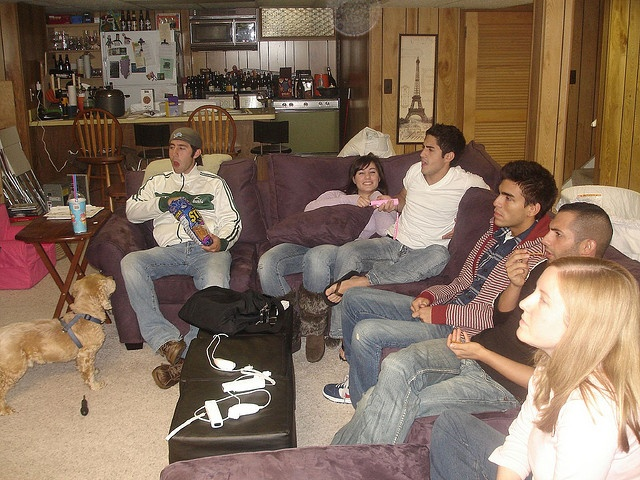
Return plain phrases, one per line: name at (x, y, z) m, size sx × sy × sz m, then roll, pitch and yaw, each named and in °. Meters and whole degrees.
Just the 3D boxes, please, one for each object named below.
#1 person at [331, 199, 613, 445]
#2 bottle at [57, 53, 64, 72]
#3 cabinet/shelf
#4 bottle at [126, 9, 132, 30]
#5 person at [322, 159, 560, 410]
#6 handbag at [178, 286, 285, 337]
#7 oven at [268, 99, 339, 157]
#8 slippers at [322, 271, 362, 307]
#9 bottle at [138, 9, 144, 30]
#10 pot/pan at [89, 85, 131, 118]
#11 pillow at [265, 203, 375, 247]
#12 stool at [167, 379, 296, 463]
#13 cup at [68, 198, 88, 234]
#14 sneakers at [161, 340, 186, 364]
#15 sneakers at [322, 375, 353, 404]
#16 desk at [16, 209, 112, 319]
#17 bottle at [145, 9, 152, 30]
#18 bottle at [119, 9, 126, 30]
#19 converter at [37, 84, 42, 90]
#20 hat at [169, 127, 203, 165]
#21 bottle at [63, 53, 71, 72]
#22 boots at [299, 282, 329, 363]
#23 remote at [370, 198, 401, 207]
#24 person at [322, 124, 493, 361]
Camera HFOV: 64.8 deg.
person at (0.638, 0.498, 2.389) m, size 1.101 × 1.441 × 0.629 m, roll -11°, pitch -16°, yaw 35°
bottle at (-4.119, -2.850, 8.123) m, size 0.100 × 0.272 × 0.385 m, roll -10°, pitch 20°, yaw -23°
cabinet/shelf at (-3.901, -2.999, 8.192) m, size 0.821 × 0.966 × 0.376 m, roll -10°, pitch 20°, yaw -22°
bottle at (-3.027, -3.537, 8.133) m, size 0.106 × 0.289 × 0.131 m, roll -8°, pitch 19°, yaw -17°
person at (0.582, 0.302, 2.666) m, size 1.059 × 1.408 × 0.648 m, roll 6°, pitch 13°, yaw 8°
handbag at (-0.456, 0.387, 2.717) m, size 0.340 × 0.127 × 0.299 m, roll 3°, pitch 9°, yaw 13°
oven at (-0.238, -1.979, 8.759) m, size 1.357 × 1.217 × 0.832 m, roll 0°, pitch 25°, yaw -2°
slippers at (0.130, 0.267, 3.124) m, size 0.320 × 0.125 × 0.104 m, roll -34°, pitch 4°, yaw 6°
bottle at (-2.870, -3.605, 8.264) m, size 0.095 × 0.300 × 0.184 m, roll -8°, pitch 19°, yaw -17°
pot/pan at (-2.804, -1.885, 6.863) m, size 0.389 × 0.422 × 0.388 m, roll -18°, pitch 25°, yaw -42°
pillow at (0.015, -0.094, 3.337) m, size 0.390 × 0.123 × 0.370 m, roll -9°, pitch 7°, yaw 13°
stool at (-0.362, 0.760, 2.180) m, size 0.489 × 0.173 × 0.347 m, roll -2°, pitch 19°, yaw 1°
cup at (-1.620, -0.176, 3.436) m, size 0.103 × 0.220 × 0.229 m, roll -10°, pitch 20°, yaw -23°
sneakers at (-0.875, 0.664, 3.068) m, size 0.130 × 0.092 × 0.196 m, roll -1°, pitch 16°, yaw -2°
sneakers at (0.102, 0.852, 2.909) m, size 0.191 × 0.124 × 0.084 m, roll 12°, pitch 5°, yaw 9°
desk at (-1.807, 0.166, 3.580) m, size 0.412 × 0.565 × 0.597 m, roll 8°, pitch 27°, yaw -12°
bottle at (-2.790, -3.625, 8.308) m, size 0.114 × 0.310 × 0.271 m, roll -6°, pitch 19°, yaw -12°
bottle at (-3.119, -3.521, 8.098) m, size 0.109 × 0.290 × 0.142 m, roll -8°, pitch 19°, yaw -18°
converter at (-3.917, -2.169, 7.137) m, size 0.041 × 0.078 × 0.019 m, roll -5°, pitch -11°, yaw -13°
hat at (-0.961, -0.673, 3.556) m, size 0.206 × 0.215 × 0.278 m, roll 2°, pitch -7°, yaw -5°
bottle at (-4.021, -2.857, 8.141) m, size 0.104 × 0.276 × 0.321 m, roll -10°, pitch 20°, yaw -22°
boots at (-0.037, 0.531, 3.110) m, size 0.269 × 0.397 × 0.162 m, roll 2°, pitch -3°, yaw -6°
remote at (0.446, -0.255, 3.443) m, size 0.222 × 0.067 × 0.066 m, roll -5°, pitch 23°, yaw 12°
person at (0.512, -0.046, 3.265) m, size 1.316 × 1.429 × 0.623 m, roll 0°, pitch 14°, yaw -29°
